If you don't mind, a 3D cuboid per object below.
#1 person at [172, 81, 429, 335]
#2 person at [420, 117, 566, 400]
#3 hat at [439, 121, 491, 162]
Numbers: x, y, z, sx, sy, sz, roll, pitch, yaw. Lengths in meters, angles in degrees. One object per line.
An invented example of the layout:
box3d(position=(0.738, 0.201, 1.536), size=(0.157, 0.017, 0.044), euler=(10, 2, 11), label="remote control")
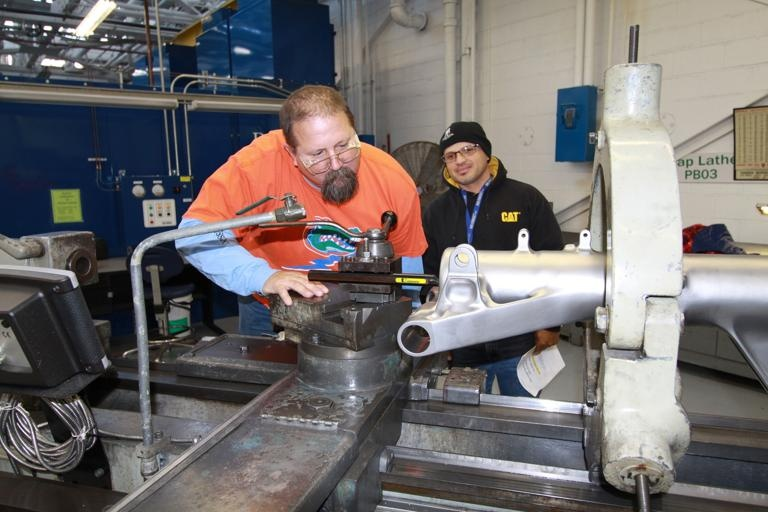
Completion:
box3d(position=(-0.365, -0.095, 2.305), size=(0.941, 1.155, 0.926), euler=(0, 11, 9), label="person")
box3d(position=(0.547, 0.043, 2.946), size=(0.563, 1.437, 0.781), euler=(-13, 15, -42), label="person")
box3d(position=(0.447, -0.633, 3.050), size=(0.208, 0.162, 0.210), euler=(1, -12, 24), label="hat")
